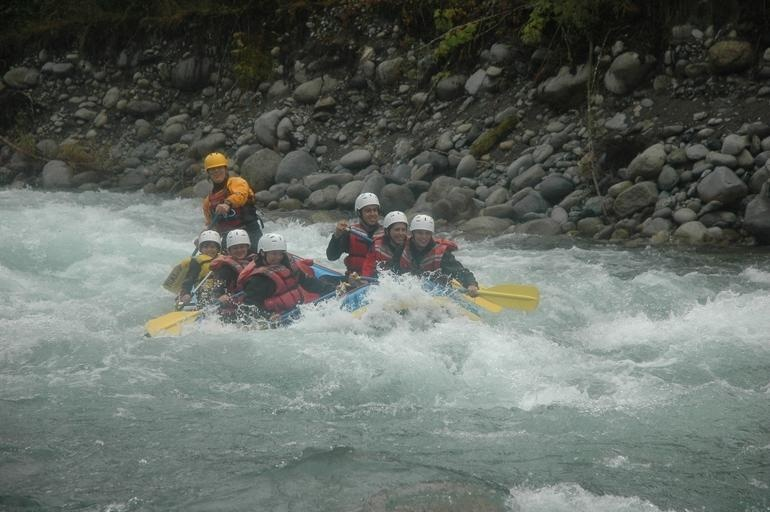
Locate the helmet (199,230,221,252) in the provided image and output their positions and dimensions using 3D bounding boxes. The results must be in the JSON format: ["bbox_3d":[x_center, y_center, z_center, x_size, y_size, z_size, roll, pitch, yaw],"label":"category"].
[{"bbox_3d":[-3.402,-0.301,14.750,0.313,0.417,0.347,0,5,-9],"label":"helmet"}]

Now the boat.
[{"bbox_3d":[-1.063,0.696,13.662,5.267,1.187,1.893,1,6,5],"label":"boat"}]

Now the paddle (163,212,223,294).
[{"bbox_3d":[-3.642,0.080,14.611,0.995,1.277,0.457,36,23,-24],"label":"paddle"}]

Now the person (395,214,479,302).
[{"bbox_3d":[0.934,0.082,14.090,1.611,2.193,0.788,-2,-14,8],"label":"person"}]

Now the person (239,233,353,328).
[{"bbox_3d":[-1.822,0.471,13.519,1.452,0.971,1.815,-20,19,-38],"label":"person"}]

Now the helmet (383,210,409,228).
[{"bbox_3d":[0.192,-0.605,14.136,0.307,0.403,0.316,0,27,-12],"label":"helmet"}]

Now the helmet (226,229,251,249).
[{"bbox_3d":[-2.757,-0.335,14.276,0.300,0.400,0.319,-1,-1,1],"label":"helmet"}]

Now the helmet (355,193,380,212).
[{"bbox_3d":[-0.382,-1.021,14.689,0.321,0.433,0.315,21,38,-39],"label":"helmet"}]
